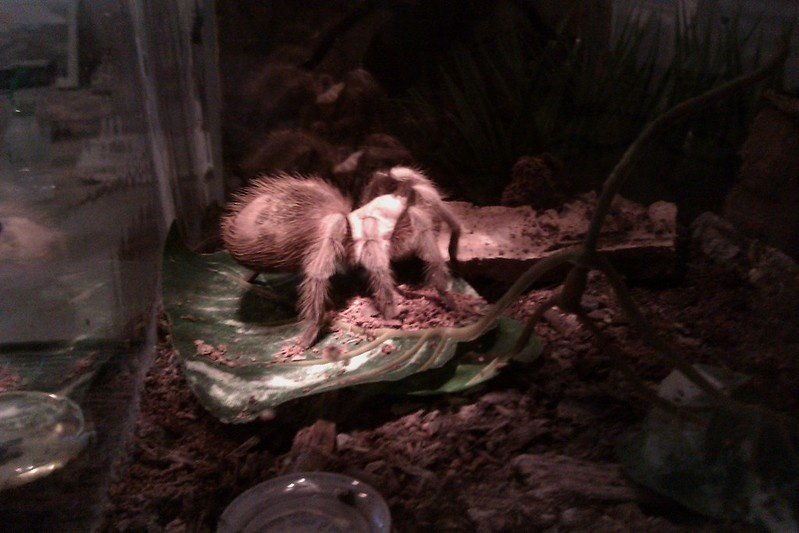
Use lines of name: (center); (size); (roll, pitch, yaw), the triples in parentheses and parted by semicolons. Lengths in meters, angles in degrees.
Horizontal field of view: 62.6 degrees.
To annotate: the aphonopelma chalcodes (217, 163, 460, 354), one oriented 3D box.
aphonopelma chalcodes: (-0.140, -0.075, 1.840); (0.745, 0.350, 0.463); (4, 26, 22)
